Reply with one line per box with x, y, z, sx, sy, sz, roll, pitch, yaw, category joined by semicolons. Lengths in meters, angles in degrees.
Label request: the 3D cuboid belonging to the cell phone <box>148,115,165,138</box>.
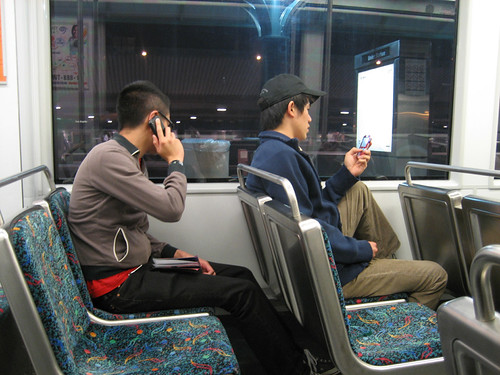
-0.503;-0.331;2.016;0.081;0.116;0.025;-35;21;-32;cell phone

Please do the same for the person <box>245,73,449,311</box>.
0.615;0.185;2.371;1.046;1.921;0.789;-8;-2;8;person

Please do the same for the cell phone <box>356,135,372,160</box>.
0.814;-0.298;2.642;0.079;0.045;0.317;-1;42;30;cell phone

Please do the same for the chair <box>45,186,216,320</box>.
-0.688;0.331;1.998;0.609;0.512;0.634;-1;0;-16;chair

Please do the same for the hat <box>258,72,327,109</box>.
0.257;-0.577;2.303;0.332;0.194;0.229;-9;6;-7;hat
